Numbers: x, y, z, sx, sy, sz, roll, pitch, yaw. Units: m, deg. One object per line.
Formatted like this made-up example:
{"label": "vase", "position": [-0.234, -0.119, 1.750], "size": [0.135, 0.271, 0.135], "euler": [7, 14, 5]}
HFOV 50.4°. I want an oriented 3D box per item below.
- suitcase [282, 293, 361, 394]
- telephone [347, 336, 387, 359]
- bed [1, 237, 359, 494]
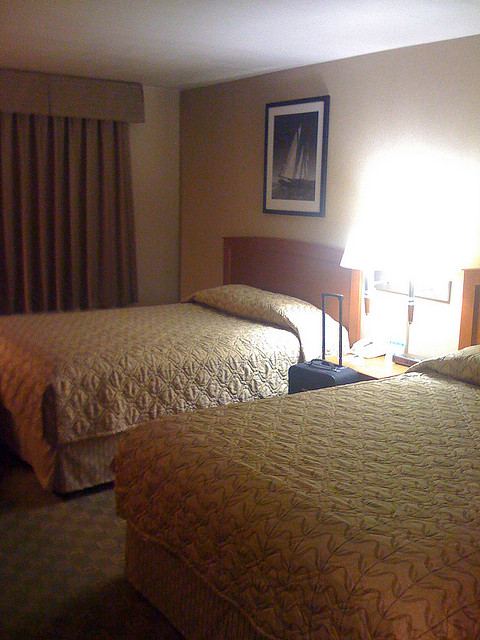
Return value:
{"label": "suitcase", "position": [0.464, 0.175, 2.870], "size": [0.207, 0.643, 0.379], "euler": [-7, 11, -36]}
{"label": "telephone", "position": [0.844, 0.161, 3.300], "size": [0.126, 0.067, 0.192], "euler": [10, 11, 41]}
{"label": "bed", "position": [-0.343, 0.169, 3.283], "size": [1.981, 1.141, 1.602], "euler": [-6, 12, -32]}
